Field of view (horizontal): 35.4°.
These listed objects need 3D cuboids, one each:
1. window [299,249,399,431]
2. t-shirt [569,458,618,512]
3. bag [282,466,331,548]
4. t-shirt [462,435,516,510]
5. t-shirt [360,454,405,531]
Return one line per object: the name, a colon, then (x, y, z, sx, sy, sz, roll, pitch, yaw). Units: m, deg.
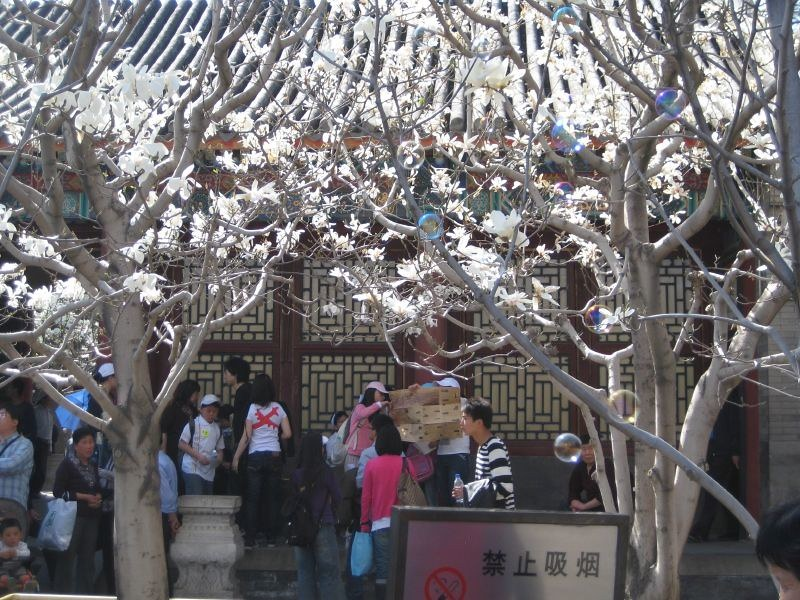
window: (-0.611, 0.599, 14.697, 1.190, 0.088, 2.521, -1, -54, -4)
t-shirt: (1.896, 1.872, 12.596, 0.437, 0.655, 0.463, -5, -21, 15)
bag: (-0.859, 1.940, 11.791, 0.402, 0.780, 0.501, 26, -37, -34)
t-shirt: (0.756, 1.444, 10.745, 0.365, 0.706, 0.509, -6, 8, -14)
t-shirt: (-0.129, 1.737, 11.611, 0.424, 0.668, 0.254, -7, -19, 1)
